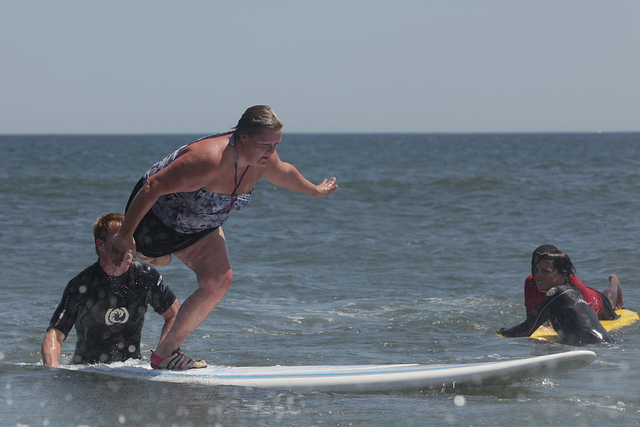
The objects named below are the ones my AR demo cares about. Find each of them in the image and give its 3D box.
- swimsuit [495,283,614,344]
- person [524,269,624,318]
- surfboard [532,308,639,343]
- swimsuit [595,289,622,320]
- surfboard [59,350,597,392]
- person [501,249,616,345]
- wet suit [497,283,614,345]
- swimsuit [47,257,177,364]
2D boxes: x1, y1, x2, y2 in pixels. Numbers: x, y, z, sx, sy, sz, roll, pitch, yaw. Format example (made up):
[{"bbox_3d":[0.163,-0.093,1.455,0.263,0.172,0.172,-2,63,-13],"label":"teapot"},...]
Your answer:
[{"bbox_3d":[4.215,1.911,24.826,1.519,1.025,2.461,-9,-5,-16],"label":"swimsuit"},{"bbox_3d":[4.814,1.558,25.343,2.530,0.890,1.076,0,-15,-44],"label":"person"},{"bbox_3d":[4.965,2.050,24.926,2.703,0.291,0.673,-2,18,-45],"label":"surfboard"},{"bbox_3d":[5.216,1.721,25.222,0.400,0.508,0.275,-24,-11,-33],"label":"swimsuit"},{"bbox_3d":[0.529,2.468,22.542,7.786,0.658,0.456,4,-2,-1],"label":"surfboard"},{"bbox_3d":[4.329,1.630,24.756,3.098,1.397,1.061,4,2,22],"label":"person"},{"bbox_3d":[4.265,1.780,24.362,1.804,0.830,0.276,4,-2,9],"label":"wet suit"},{"bbox_3d":[-3.480,1.627,22.614,1.841,1.592,0.385,5,-2,-8],"label":"swimsuit"}]
